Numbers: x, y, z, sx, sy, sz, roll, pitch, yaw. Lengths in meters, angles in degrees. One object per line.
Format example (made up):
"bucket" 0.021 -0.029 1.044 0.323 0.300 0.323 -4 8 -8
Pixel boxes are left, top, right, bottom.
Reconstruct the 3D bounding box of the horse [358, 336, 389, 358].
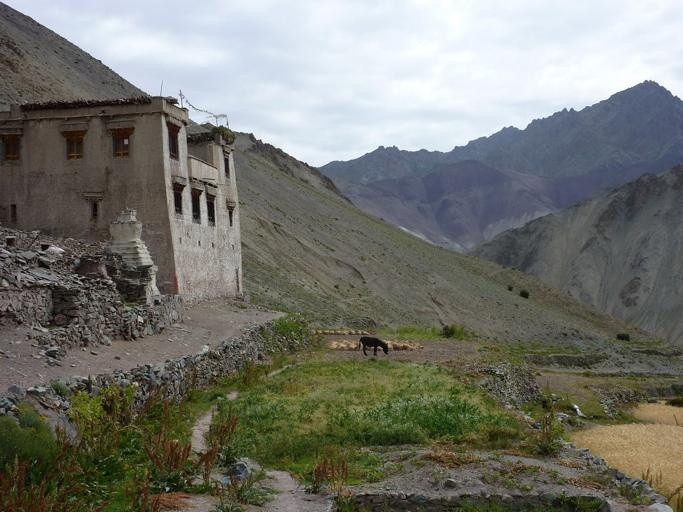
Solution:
"horse" 2.116 6.105 44.269 1.858 1.290 2.953 13 2 0
